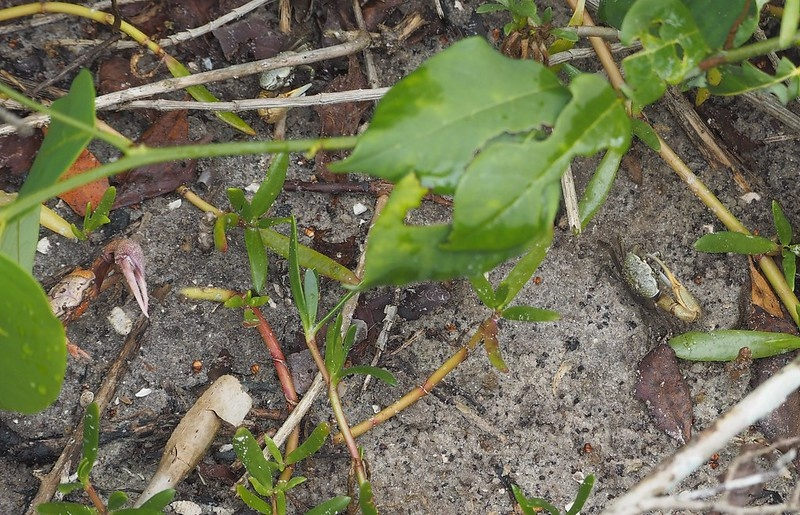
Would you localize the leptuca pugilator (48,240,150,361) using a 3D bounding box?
[{"bbox_3d":[-0.931,0.127,2.300,0.332,0.181,0.237,-28,58,-6],"label":"leptuca pugilator"}]

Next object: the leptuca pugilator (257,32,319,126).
[{"bbox_3d":[-0.373,-0.575,2.368,0.135,0.155,0.276,33,70,27],"label":"leptuca pugilator"}]

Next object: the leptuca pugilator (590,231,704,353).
[{"bbox_3d":[0.800,0.093,2.404,0.361,0.130,0.171,43,100,10],"label":"leptuca pugilator"}]
